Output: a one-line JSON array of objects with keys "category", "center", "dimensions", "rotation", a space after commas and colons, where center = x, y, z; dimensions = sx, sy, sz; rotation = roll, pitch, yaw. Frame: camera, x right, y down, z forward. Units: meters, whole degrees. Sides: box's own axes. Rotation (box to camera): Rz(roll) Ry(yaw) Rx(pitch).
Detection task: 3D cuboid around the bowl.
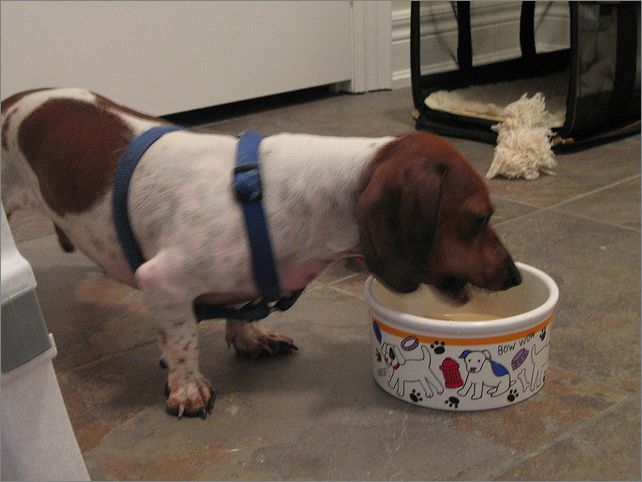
[{"category": "bowl", "center": [0.385, 0.242, 1.559], "dimensions": [0.408, 0.216, 0.402], "rotation": [-3, 15, 1]}]
